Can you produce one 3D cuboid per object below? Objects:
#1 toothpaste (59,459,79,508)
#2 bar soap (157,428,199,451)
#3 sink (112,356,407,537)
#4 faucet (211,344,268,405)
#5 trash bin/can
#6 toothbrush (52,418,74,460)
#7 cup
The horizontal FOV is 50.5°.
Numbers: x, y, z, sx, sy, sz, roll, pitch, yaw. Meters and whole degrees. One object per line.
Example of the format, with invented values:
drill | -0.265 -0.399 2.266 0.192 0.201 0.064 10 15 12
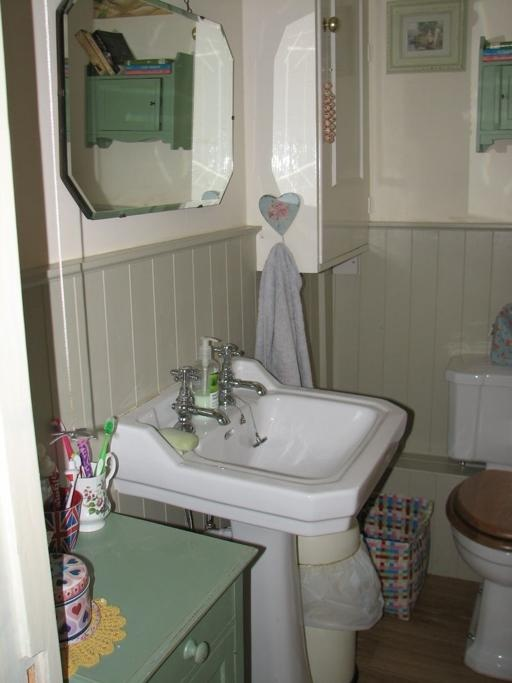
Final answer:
toothpaste | -0.321 0.237 0.932 0.020 0.093 0.016 6 -7 -10
bar soap | -0.168 0.201 1.163 0.067 0.018 0.040 14 35 25
sink | 0.039 0.226 1.279 0.534 0.254 0.554 1 16 29
faucet | -0.055 0.071 1.475 0.157 0.172 0.122 6 14 15
trash bin/can | 0.545 0.766 2.135 0.315 0.481 0.393 3 12 27
toothbrush | -0.339 0.176 0.976 0.028 0.035 0.124 -5 19 -10
cup | -0.305 0.284 0.951 0.072 0.073 0.153 4 22 7
